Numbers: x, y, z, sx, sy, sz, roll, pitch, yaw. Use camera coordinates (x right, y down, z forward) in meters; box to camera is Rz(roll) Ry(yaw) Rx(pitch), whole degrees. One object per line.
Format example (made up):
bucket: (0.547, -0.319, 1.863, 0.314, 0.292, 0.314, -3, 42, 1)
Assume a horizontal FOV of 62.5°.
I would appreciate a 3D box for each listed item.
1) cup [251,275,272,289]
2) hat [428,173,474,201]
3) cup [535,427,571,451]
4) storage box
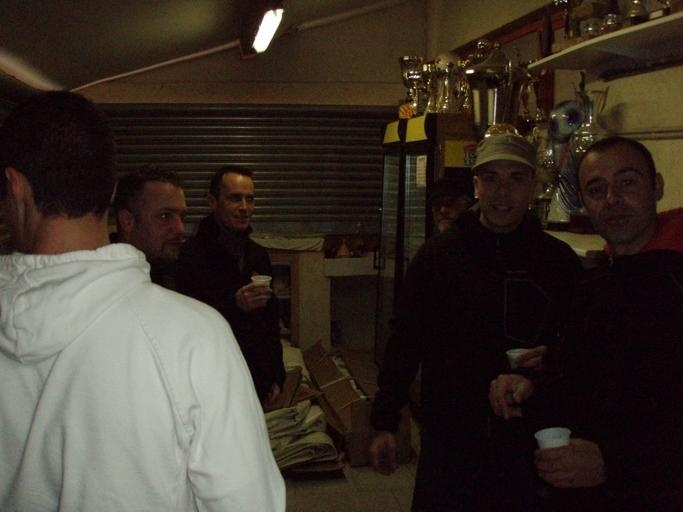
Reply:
cup: (-0.426, 0.134, 2.954, 0.081, 0.060, 0.082, 0, -9, 0)
hat: (0.709, -0.441, 3.576, 0.171, 0.110, 0.230, 2, 14, 15)
cup: (0.679, 0.585, 1.810, 0.082, 0.053, 0.081, -14, 0, 0)
storage box: (-0.021, 1.086, 4.730, 0.512, 0.444, 1.589, 4, 9, -15)
